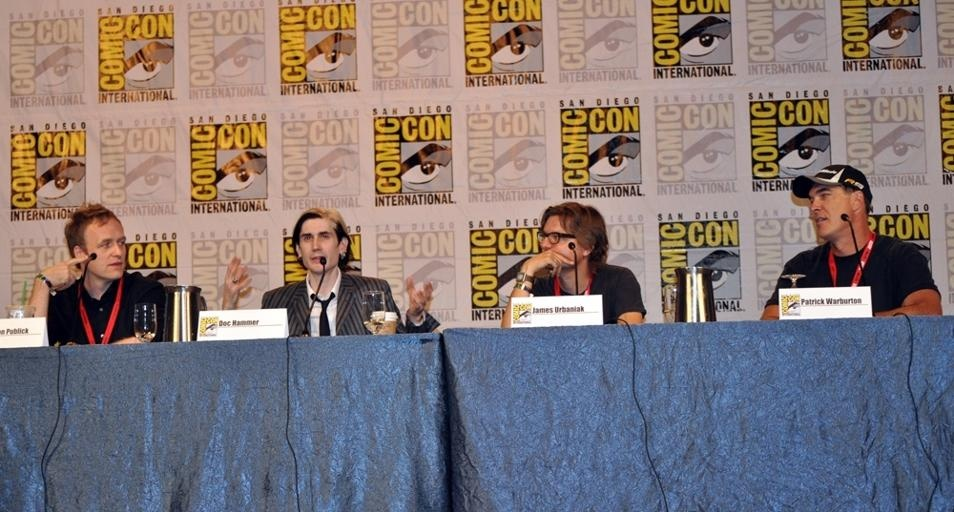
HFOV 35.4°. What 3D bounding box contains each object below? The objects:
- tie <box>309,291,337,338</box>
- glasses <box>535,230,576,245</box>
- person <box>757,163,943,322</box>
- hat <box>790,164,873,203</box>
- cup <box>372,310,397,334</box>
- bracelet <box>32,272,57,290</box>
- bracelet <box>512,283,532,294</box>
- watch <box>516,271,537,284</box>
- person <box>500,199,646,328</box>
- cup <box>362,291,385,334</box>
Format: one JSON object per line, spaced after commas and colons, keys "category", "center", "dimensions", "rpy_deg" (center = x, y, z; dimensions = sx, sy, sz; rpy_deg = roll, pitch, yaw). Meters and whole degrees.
{"category": "tie", "center": [-0.916, 0.348, 8.944], "dimensions": [0.142, 0.268, 0.062], "rpy_deg": [-3, -18, 1]}
{"category": "glasses", "center": [0.491, -0.118, 9.120], "dimensions": [0.239, 0.085, 0.128], "rpy_deg": [-2, 2, 14]}
{"category": "person", "center": [2.308, 0.041, 9.179], "dimensions": [1.029, 1.217, 0.713], "rpy_deg": [-4, -10, 30]}
{"category": "hat", "center": [2.186, -0.446, 9.221], "dimensions": [0.392, 0.202, 0.251], "rpy_deg": [21, -1, 4]}
{"category": "cup", "center": [-0.500, 0.370, 8.418], "dimensions": [0.117, 0.094, 0.122], "rpy_deg": [0, -14, 0]}
{"category": "bracelet", "center": [-2.520, 0.147, 8.858], "dimensions": [0.100, 0.096, 0.093], "rpy_deg": [41, -9, 5]}
{"category": "bracelet", "center": [0.269, 0.184, 8.612], "dimensions": [0.103, 0.055, 0.139], "rpy_deg": [-2, 2, 0]}
{"category": "watch", "center": [0.290, 0.102, 8.622], "dimensions": [0.078, 0.051, 0.081], "rpy_deg": [13, -8, 9]}
{"category": "person", "center": [0.642, 0.206, 9.300], "dimensions": [0.876, 1.069, 0.571], "rpy_deg": [-1, -4, 30]}
{"category": "cup", "center": [-0.557, 0.328, 8.422], "dimensions": [0.116, 0.319, 0.125], "rpy_deg": [-3, 15, 1]}
